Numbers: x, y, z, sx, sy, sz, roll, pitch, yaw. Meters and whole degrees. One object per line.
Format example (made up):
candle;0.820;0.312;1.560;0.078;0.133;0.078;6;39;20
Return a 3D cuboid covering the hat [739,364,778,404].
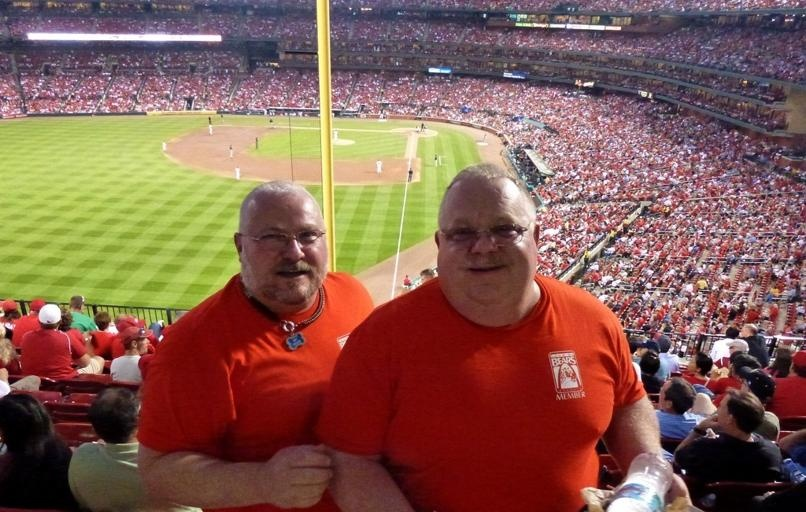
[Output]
hat;4.597;1.701;7.244;0.338;0.427;1.000;-4;0;34

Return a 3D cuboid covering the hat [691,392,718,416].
hat;3.935;1.930;7.366;0.362;0.137;0.427;0;16;5

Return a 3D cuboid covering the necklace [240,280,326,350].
necklace;-0.927;0.394;4.415;0.602;0.196;0.699;-2;45;-39

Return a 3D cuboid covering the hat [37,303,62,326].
hat;-5.489;0.902;8.729;0.356;0.214;0.417;9;37;-22

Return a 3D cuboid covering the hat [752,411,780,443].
hat;4.141;1.947;6.376;0.159;0.302;0.398;-4;0;44
